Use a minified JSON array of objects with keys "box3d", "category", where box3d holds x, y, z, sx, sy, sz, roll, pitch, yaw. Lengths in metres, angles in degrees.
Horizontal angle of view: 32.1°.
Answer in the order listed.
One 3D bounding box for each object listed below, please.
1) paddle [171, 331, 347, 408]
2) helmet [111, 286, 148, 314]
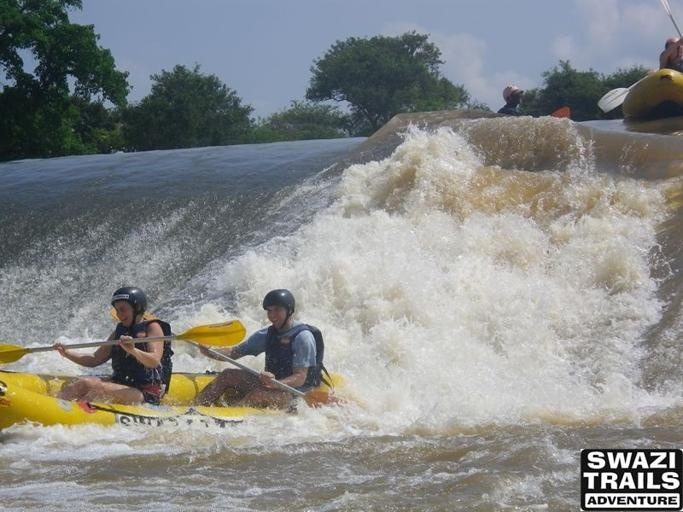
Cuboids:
[{"box3d":[-1.081,1.611,16.515,1.722,0.213,0.341,24,-43,0],"category":"paddle"},{"box3d":[-2.907,0.606,16.339,0.414,0.318,0.343,8,-21,-41],"category":"helmet"}]
